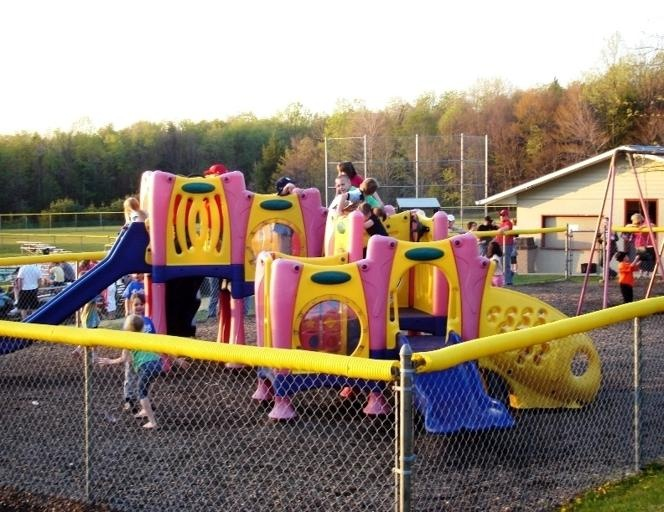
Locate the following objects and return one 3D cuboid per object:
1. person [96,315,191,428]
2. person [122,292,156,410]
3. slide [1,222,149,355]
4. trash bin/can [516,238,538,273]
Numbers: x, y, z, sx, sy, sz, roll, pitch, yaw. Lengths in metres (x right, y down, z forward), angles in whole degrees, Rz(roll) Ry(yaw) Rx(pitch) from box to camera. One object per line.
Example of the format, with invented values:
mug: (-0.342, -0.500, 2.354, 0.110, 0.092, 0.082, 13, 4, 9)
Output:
person: (-2.427, 1.340, 10.960, 0.650, 1.353, 0.530, -1, 4, 17)
person: (-2.453, 1.120, 11.290, 0.535, 1.852, 0.606, 1, 9, -11)
slide: (-3.688, 0.773, 13.076, 1.719, 1.856, 2.020, -1, 11, 6)
trash bin/can: (5.617, -0.059, 26.612, 0.805, 1.316, 0.640, 0, 2, 10)
